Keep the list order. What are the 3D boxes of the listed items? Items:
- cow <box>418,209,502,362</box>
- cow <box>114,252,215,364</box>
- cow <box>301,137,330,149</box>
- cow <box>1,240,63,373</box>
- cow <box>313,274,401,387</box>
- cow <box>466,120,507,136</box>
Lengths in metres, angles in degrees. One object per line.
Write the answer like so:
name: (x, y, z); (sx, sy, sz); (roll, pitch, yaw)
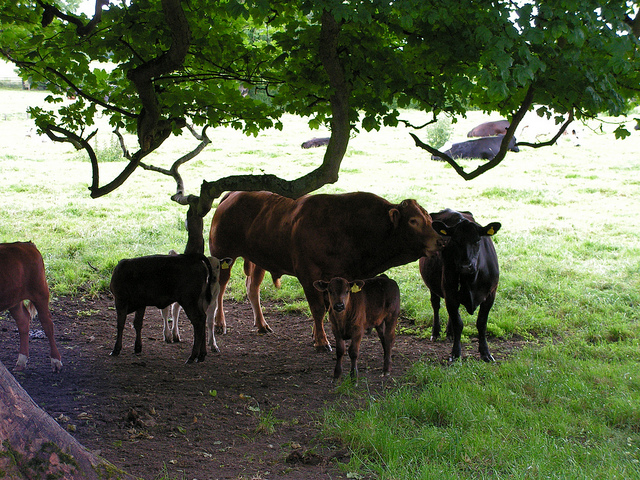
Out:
cow: (2.042, 0.629, 9.951); (1.052, 2.134, 1.556); (1, 5, 9)
cow: (-2.226, 0.902, 9.681); (1.472, 1.728, 1.253); (7, 8, 22)
cow: (-0.285, -4.040, 28.119); (1.126, 0.508, 1.065); (-1, 6, -18)
cow: (-3.723, 0.834, 8.766); (0.684, 1.650, 0.652); (-2, 6, -23)
cow: (0.591, 1.163, 9.295); (1.267, 1.398, 0.754); (-5, 7, -44)
cow: (6.901, -4.541, 27.538); (1.367, 0.703, 2.613); (0, 5, -1)
